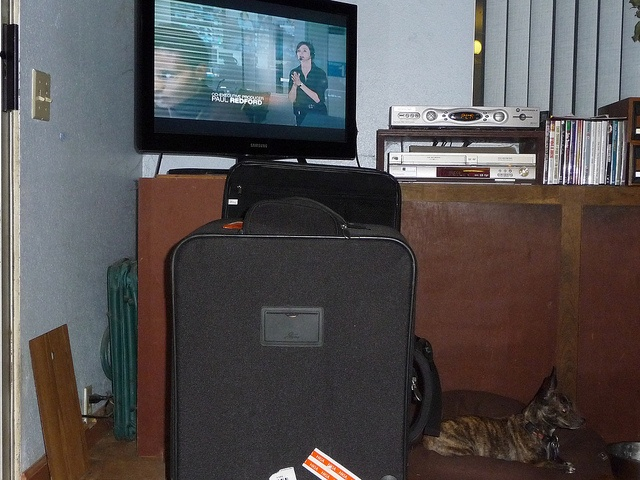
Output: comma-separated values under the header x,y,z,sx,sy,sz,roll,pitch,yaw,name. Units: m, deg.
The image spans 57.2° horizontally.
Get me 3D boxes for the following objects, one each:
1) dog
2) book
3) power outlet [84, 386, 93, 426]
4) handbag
x,y,z,sx,sy,sz,roll,pitch,yaw,name
0.641,0.735,2.459,0.758,0.500,0.293,-2,-1,5,dog
1.177,-0.384,2.718,0.360,0.402,0.278,0,8,10,book
-0.994,0.699,2.505,0.032,0.152,0.092,-2,8,-12,power outlet
-0.033,-0.140,1.828,0.444,0.291,0.151,3,9,2,handbag
